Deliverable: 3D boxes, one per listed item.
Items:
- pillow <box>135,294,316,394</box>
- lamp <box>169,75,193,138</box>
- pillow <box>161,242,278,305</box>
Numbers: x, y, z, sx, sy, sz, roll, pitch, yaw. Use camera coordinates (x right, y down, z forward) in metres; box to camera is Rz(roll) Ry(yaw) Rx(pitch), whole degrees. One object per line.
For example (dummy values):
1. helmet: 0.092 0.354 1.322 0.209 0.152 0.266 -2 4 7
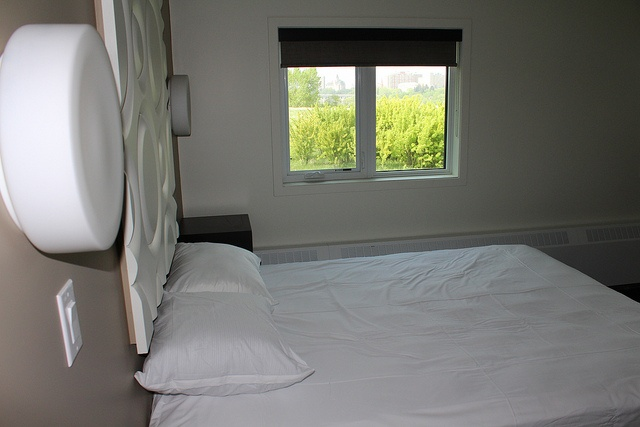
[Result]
1. pillow: -0.459 0.587 1.972 0.490 0.160 0.522 2 25 -20
2. lamp: -0.932 -0.713 2.901 0.131 0.393 0.225 -4 14 -17
3. pillow: -0.569 0.294 2.607 0.591 0.150 0.659 3 21 12
